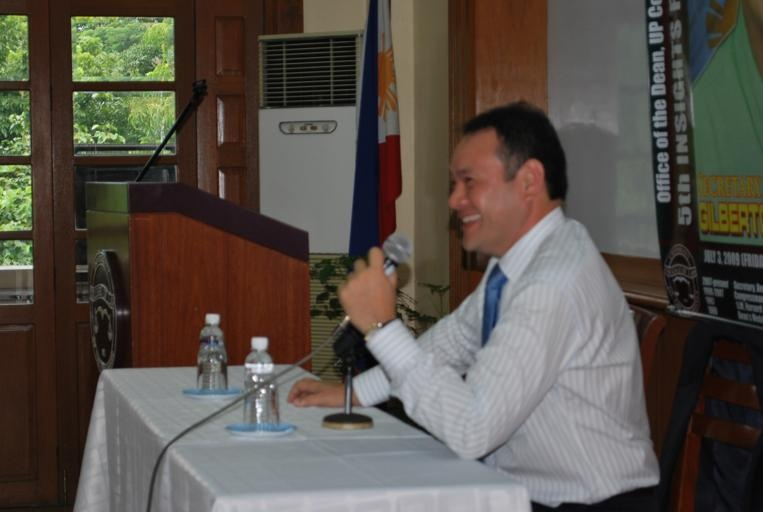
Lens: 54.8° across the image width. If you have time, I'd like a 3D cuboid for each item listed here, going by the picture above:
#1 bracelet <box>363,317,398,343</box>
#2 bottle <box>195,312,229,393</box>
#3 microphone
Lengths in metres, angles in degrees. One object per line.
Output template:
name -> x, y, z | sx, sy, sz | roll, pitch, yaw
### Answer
bracelet -> -0.010, 0.213, 2.119 | 0.070, 0.028, 0.073 | -36, 6, -9
bottle -> -0.587, 0.341, 2.530 | 0.124, 0.304, 0.130 | 1, 1, 0
microphone -> -0.023, 0.089, 2.139 | 0.211, 0.298, 0.129 | 0, 9, 3
